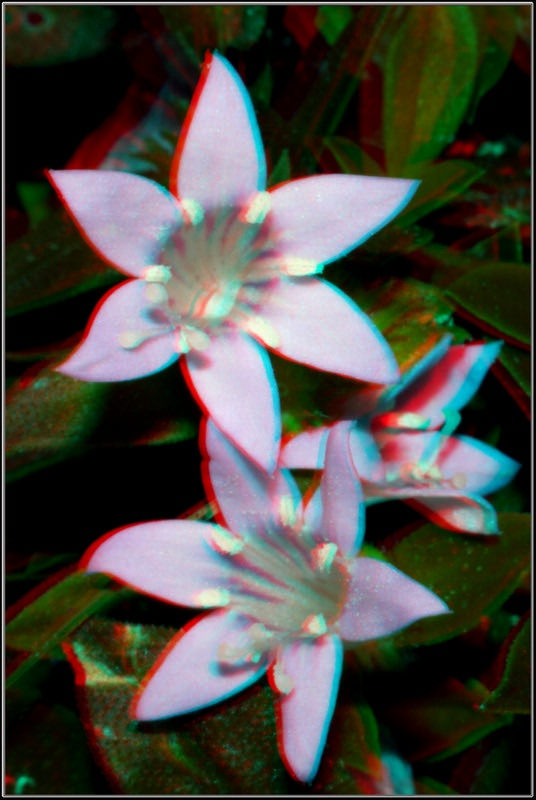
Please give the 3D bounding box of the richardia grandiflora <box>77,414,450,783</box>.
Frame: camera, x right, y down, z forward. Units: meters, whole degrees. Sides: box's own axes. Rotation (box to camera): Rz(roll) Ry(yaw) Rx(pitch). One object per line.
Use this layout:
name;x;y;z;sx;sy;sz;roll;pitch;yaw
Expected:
richardia grandiflora;-0.017;0.202;0.768;0.281;0.326;0.247;-19;32;-16

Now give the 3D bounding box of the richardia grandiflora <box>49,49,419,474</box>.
richardia grandiflora;-0.027;-0.143;0.771;0.325;0.358;0.250;1;32;16
